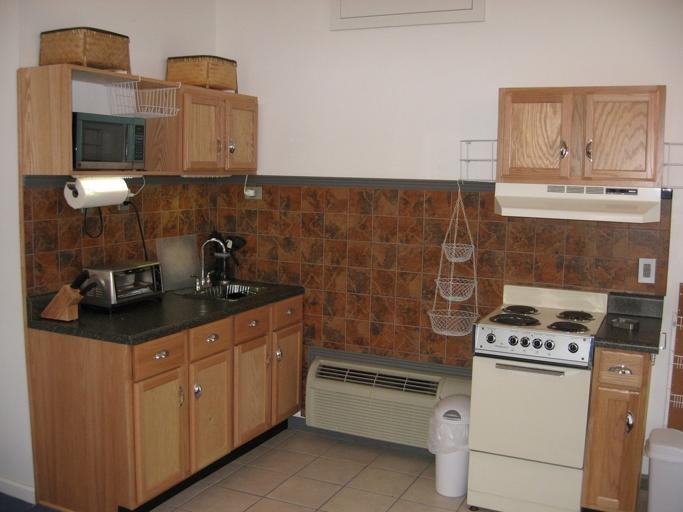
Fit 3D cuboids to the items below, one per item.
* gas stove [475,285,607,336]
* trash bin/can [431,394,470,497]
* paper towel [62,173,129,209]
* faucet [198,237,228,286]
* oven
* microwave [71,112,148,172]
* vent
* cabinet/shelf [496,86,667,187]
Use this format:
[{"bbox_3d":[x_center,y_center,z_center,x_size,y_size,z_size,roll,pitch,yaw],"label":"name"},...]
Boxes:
[{"bbox_3d":[1.363,0.392,4.006,0.775,0.319,1.095,6,-6,14],"label":"gas stove"},{"bbox_3d":[0.717,1.289,3.815,0.268,0.617,0.303,3,10,9],"label":"trash bin/can"},{"bbox_3d":[-1.501,-0.384,3.450,0.196,0.244,0.370,-22,-8,39],"label":"paper towel"},{"bbox_3d":[-1.031,0.024,4.532,0.220,0.356,0.470,-1,10,-13],"label":"faucet"},{"bbox_3d":[1.224,0.914,3.760,0.750,0.641,0.775,1,53,31],"label":"oven"},{"bbox_3d":[-1.398,-0.689,3.379,0.295,0.344,0.526,6,9,24],"label":"microwave"},{"bbox_3d":[1.502,-0.350,3.639,0.991,0.245,0.272,4,11,16],"label":"vent"},{"bbox_3d":[1.482,-0.729,3.704,0.958,0.620,0.504,3,-4,10],"label":"cabinet/shelf"}]
